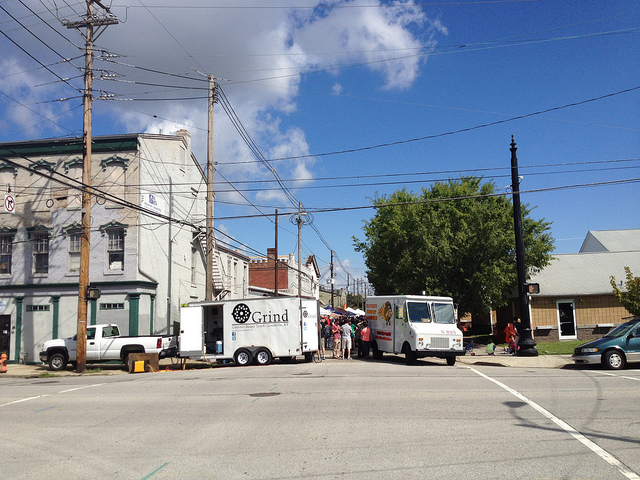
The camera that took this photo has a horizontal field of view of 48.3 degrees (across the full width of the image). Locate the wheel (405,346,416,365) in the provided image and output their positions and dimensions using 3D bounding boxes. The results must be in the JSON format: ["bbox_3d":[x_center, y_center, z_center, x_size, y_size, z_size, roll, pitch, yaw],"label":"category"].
[{"bbox_3d":[3.917,5.044,31.092,0.404,0.934,1.151,-1,2,7],"label":"wheel"}]

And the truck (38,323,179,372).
[{"bbox_3d":[-9.787,5.120,33.932,5.857,2.095,2.762,0,-9,8],"label":"truck"}]

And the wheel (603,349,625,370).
[{"bbox_3d":[11.577,4.701,28.058,0.732,0.779,0.268,0,-9,-2],"label":"wheel"}]

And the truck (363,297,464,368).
[{"bbox_3d":[4.191,4.081,33.098,2.705,2.981,5.790,3,-5,-21],"label":"truck"}]

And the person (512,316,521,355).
[{"bbox_3d":[9.863,4.871,35.851,0.355,1.567,2.750,0,2,15],"label":"person"}]

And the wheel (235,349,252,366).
[{"bbox_3d":[-3.454,5.289,32.133,0.529,0.541,0.191,-35,3,-9],"label":"wheel"}]

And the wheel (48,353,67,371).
[{"bbox_3d":[-12.268,5.702,33.397,0.754,0.805,0.275,-1,-2,-3],"label":"wheel"}]

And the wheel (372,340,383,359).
[{"bbox_3d":[2.827,5.349,34.770,0.375,0.900,0.861,-1,2,-10],"label":"wheel"}]

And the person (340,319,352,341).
[{"bbox_3d":[1.287,4.434,34.741,0.404,1.036,0.612,-1,2,-2],"label":"person"}]

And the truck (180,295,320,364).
[{"bbox_3d":[-3.299,4.326,33.148,6.055,3.197,2.828,-4,-6,18],"label":"truck"}]
